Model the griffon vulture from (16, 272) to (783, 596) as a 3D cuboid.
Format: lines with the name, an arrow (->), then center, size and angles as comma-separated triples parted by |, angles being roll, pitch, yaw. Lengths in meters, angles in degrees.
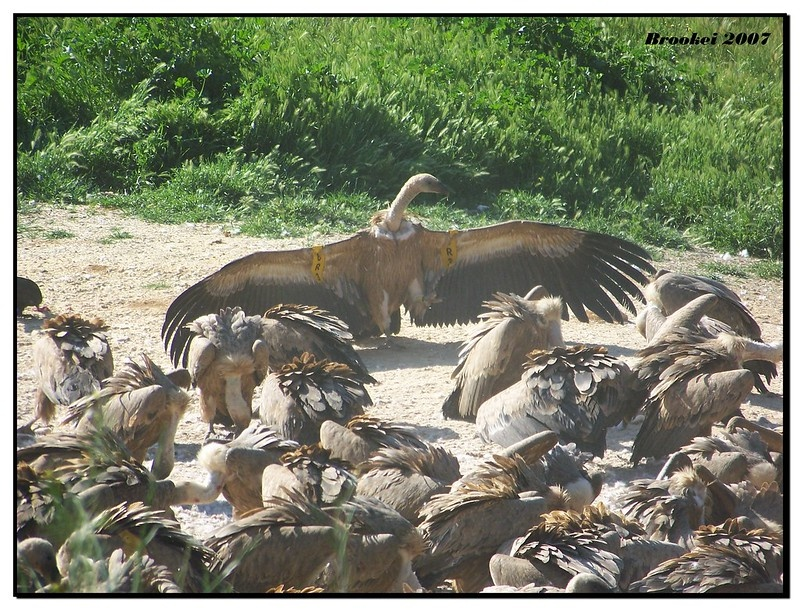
griffon vulture -> -0.019, 1.221, 11.260 | 5.631, 2.084, 1.795 | 4, 8, -11
